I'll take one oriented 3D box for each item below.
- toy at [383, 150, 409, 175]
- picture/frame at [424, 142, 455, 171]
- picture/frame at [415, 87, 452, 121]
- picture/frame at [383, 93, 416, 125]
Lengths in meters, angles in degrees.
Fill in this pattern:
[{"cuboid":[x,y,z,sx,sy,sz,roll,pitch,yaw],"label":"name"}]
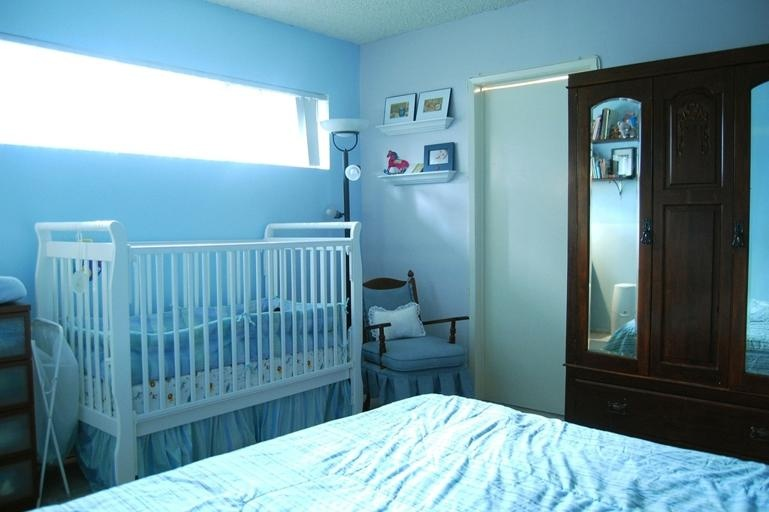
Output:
[{"cuboid":[0.093,-0.850,4.863,0.276,0.221,0.135,3,7,44],"label":"toy"},{"cuboid":[0.485,-0.863,4.642,0.260,0.226,0.035,-5,-10,28],"label":"picture/frame"},{"cuboid":[0.434,-1.307,4.637,0.350,0.300,0.024,-3,-17,36],"label":"picture/frame"},{"cuboid":[0.148,-1.319,4.825,0.330,0.269,0.015,-7,-13,40],"label":"picture/frame"}]
